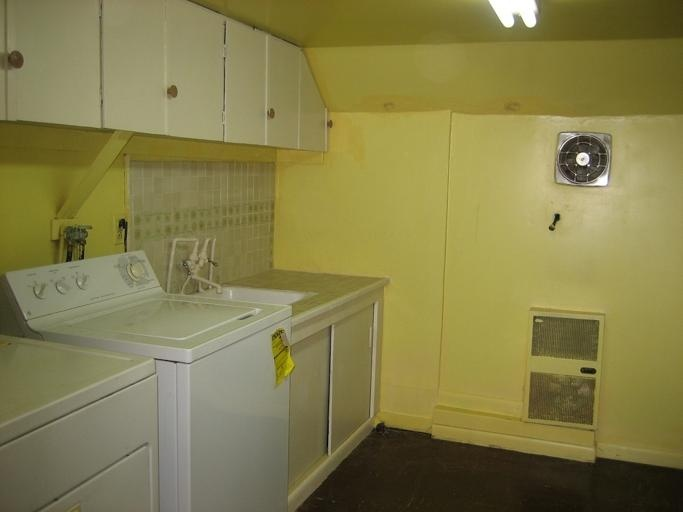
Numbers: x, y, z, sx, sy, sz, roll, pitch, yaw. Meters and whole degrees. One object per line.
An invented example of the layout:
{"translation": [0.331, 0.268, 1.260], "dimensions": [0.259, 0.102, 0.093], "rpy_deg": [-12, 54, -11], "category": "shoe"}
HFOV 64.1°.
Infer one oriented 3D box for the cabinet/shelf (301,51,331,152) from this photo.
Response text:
{"translation": [-0.187, -0.932, 3.479], "dimensions": [0.102, 0.440, 0.450], "rpy_deg": [2, 2, 16], "category": "cabinet/shelf"}
